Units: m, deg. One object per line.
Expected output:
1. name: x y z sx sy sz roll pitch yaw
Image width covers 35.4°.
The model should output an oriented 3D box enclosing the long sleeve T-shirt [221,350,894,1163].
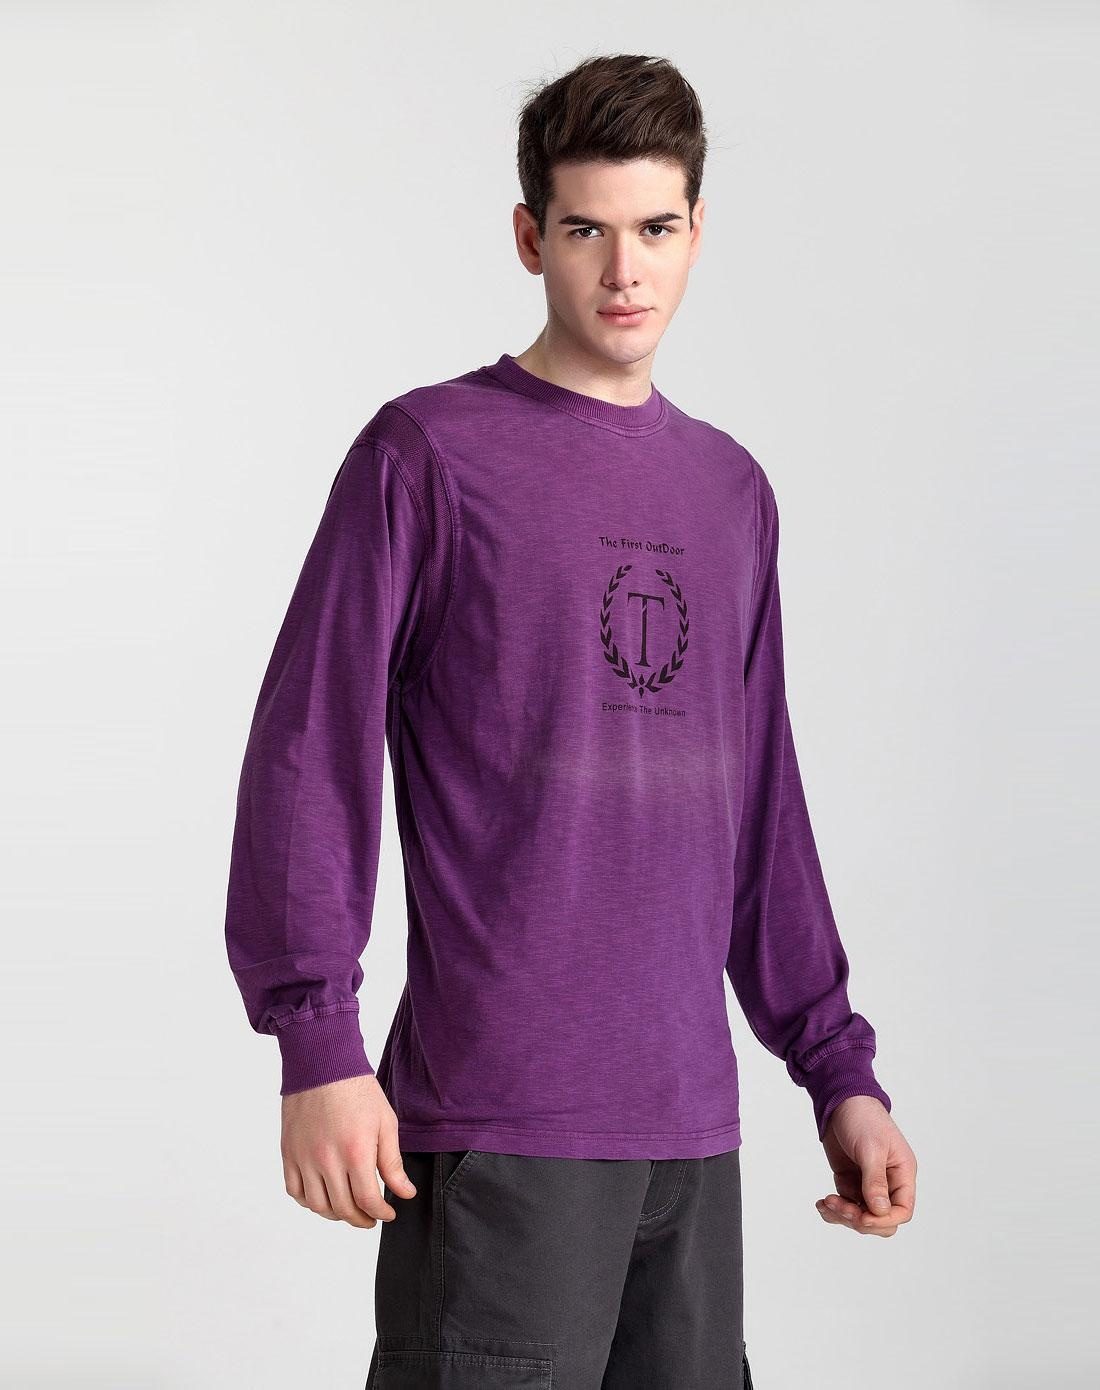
1. long sleeve T-shirt: 0.037 0.059 1.663 0.696 0.772 0.289 4 -2 -44
